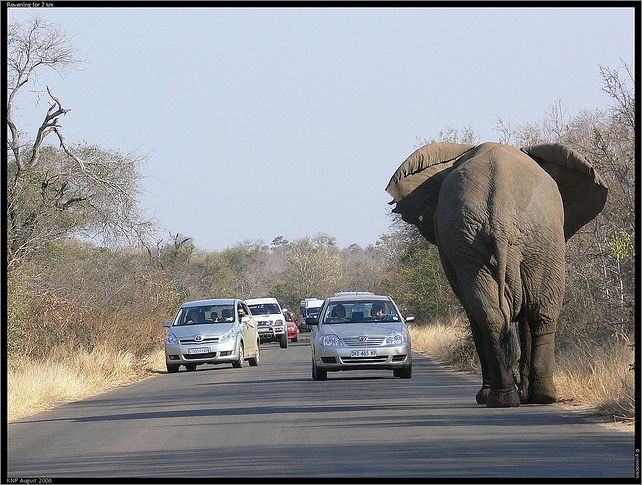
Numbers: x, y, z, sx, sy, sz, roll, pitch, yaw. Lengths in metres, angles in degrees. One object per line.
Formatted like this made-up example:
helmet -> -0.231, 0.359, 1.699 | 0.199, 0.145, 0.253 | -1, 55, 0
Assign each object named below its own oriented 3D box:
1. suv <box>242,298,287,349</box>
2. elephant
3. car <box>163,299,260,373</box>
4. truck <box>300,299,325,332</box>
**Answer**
suv -> -2.773, 3.988, 37.072 | 1.424, 1.855, 3.188 | -2, -10, 2
elephant -> 3.303, 0.334, 14.022 | 3.538, 5.071, 5.875 | -4, -1, 9
car -> -3.289, 2.924, 23.314 | 1.764, 1.591, 3.068 | -3, -11, 7
truck -> -0.472, 5.254, 54.483 | 1.522, 2.309, 4.043 | -2, 8, 2
